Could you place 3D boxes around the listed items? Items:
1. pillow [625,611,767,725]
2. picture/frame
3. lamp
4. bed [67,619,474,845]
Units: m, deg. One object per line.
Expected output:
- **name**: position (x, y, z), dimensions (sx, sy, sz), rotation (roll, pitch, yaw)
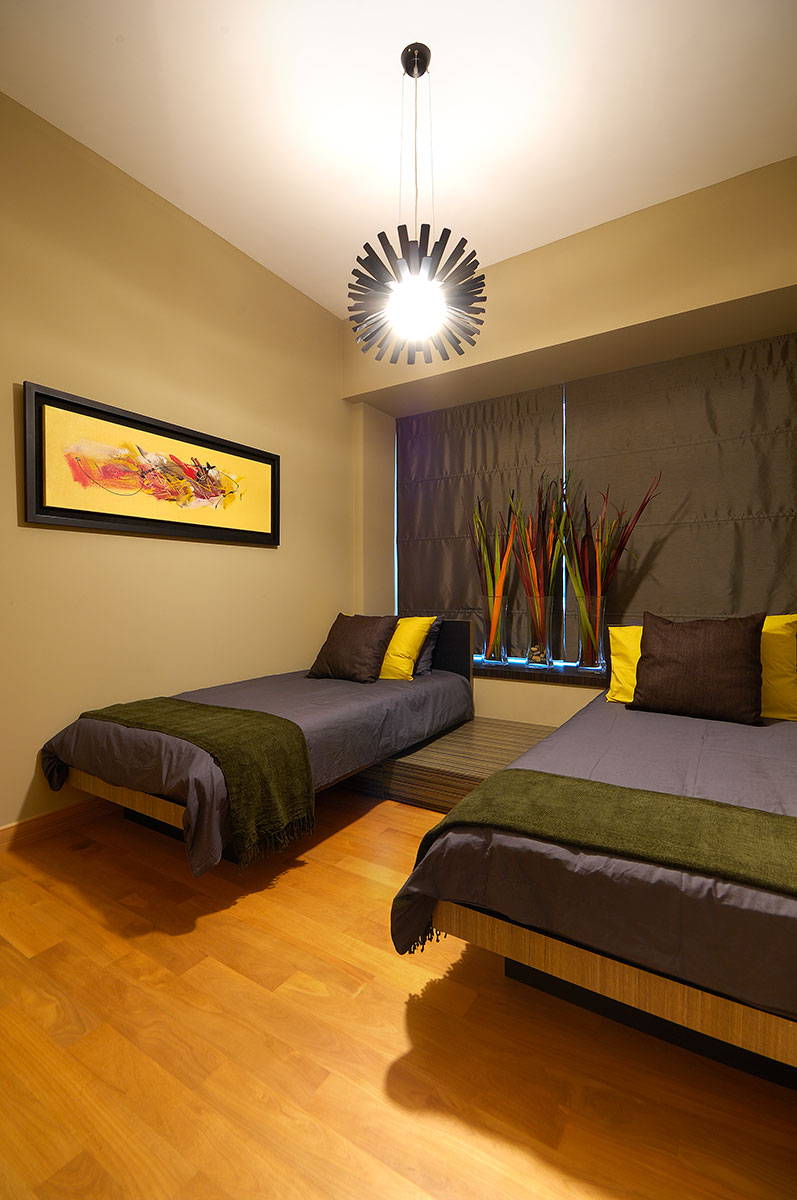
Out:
- **pillow**: position (1.105, 0.270, 2.789), dimensions (0.323, 0.333, 0.119), rotation (-2, -26, 39)
- **picture/frame**: position (-1.003, -0.523, 3.214), dimensions (0.084, 0.723, 1.307), rotation (6, 13, 31)
- **lamp**: position (0.058, -1.461, 2.628), dimensions (0.416, 1.188, 0.460), rotation (-8, -19, 23)
- **bed**: position (-0.392, 0.417, 2.760), dimensions (0.658, 0.426, 1.056), rotation (-2, -1, 39)
